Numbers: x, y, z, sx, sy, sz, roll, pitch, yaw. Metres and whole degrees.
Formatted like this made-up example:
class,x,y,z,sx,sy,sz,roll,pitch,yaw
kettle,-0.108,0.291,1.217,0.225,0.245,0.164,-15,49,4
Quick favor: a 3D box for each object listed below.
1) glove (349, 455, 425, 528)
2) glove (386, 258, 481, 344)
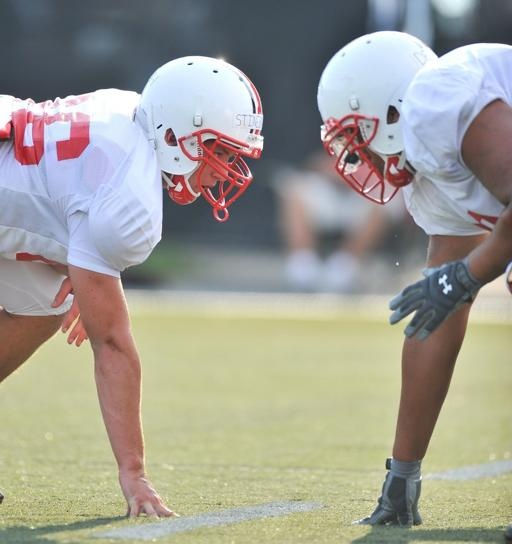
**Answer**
class,x,y,z,sx,sy,sz,roll,pitch,yaw
glove,0.336,0.560,2.213,0.161,0.147,0.099,1,4,1
glove,0.405,0.058,2.029,0.216,0.153,0.074,-26,-41,33
